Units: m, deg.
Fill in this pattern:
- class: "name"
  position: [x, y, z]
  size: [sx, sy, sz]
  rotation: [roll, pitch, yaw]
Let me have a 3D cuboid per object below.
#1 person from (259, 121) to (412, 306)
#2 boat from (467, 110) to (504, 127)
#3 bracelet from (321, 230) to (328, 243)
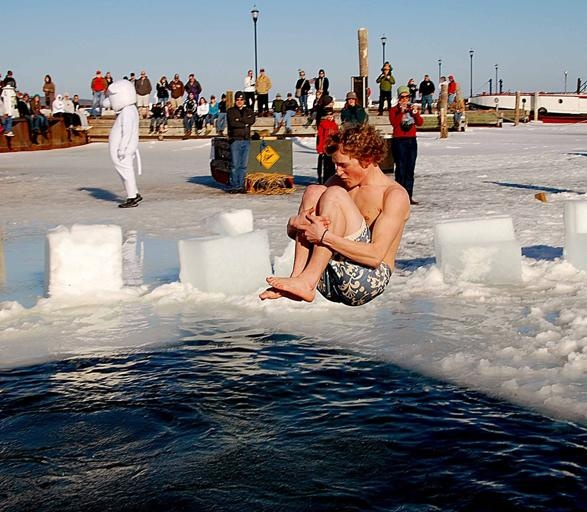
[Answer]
- class: "person"
  position: [0.293, -0.214, 3.981]
  size: [0.990, 1.218, 0.476]
  rotation: [-7, 15, -28]
- class: "boat"
  position: [12.094, -8.681, 39.552]
  size: [2.226, 1.045, 1.641]
  rotation: [2, 11, 12]
- class: "bracelet"
  position: [0.178, -0.110, 3.753]
  size: [0.052, 0.088, 0.034]
  rotation: [5, 14, 23]
